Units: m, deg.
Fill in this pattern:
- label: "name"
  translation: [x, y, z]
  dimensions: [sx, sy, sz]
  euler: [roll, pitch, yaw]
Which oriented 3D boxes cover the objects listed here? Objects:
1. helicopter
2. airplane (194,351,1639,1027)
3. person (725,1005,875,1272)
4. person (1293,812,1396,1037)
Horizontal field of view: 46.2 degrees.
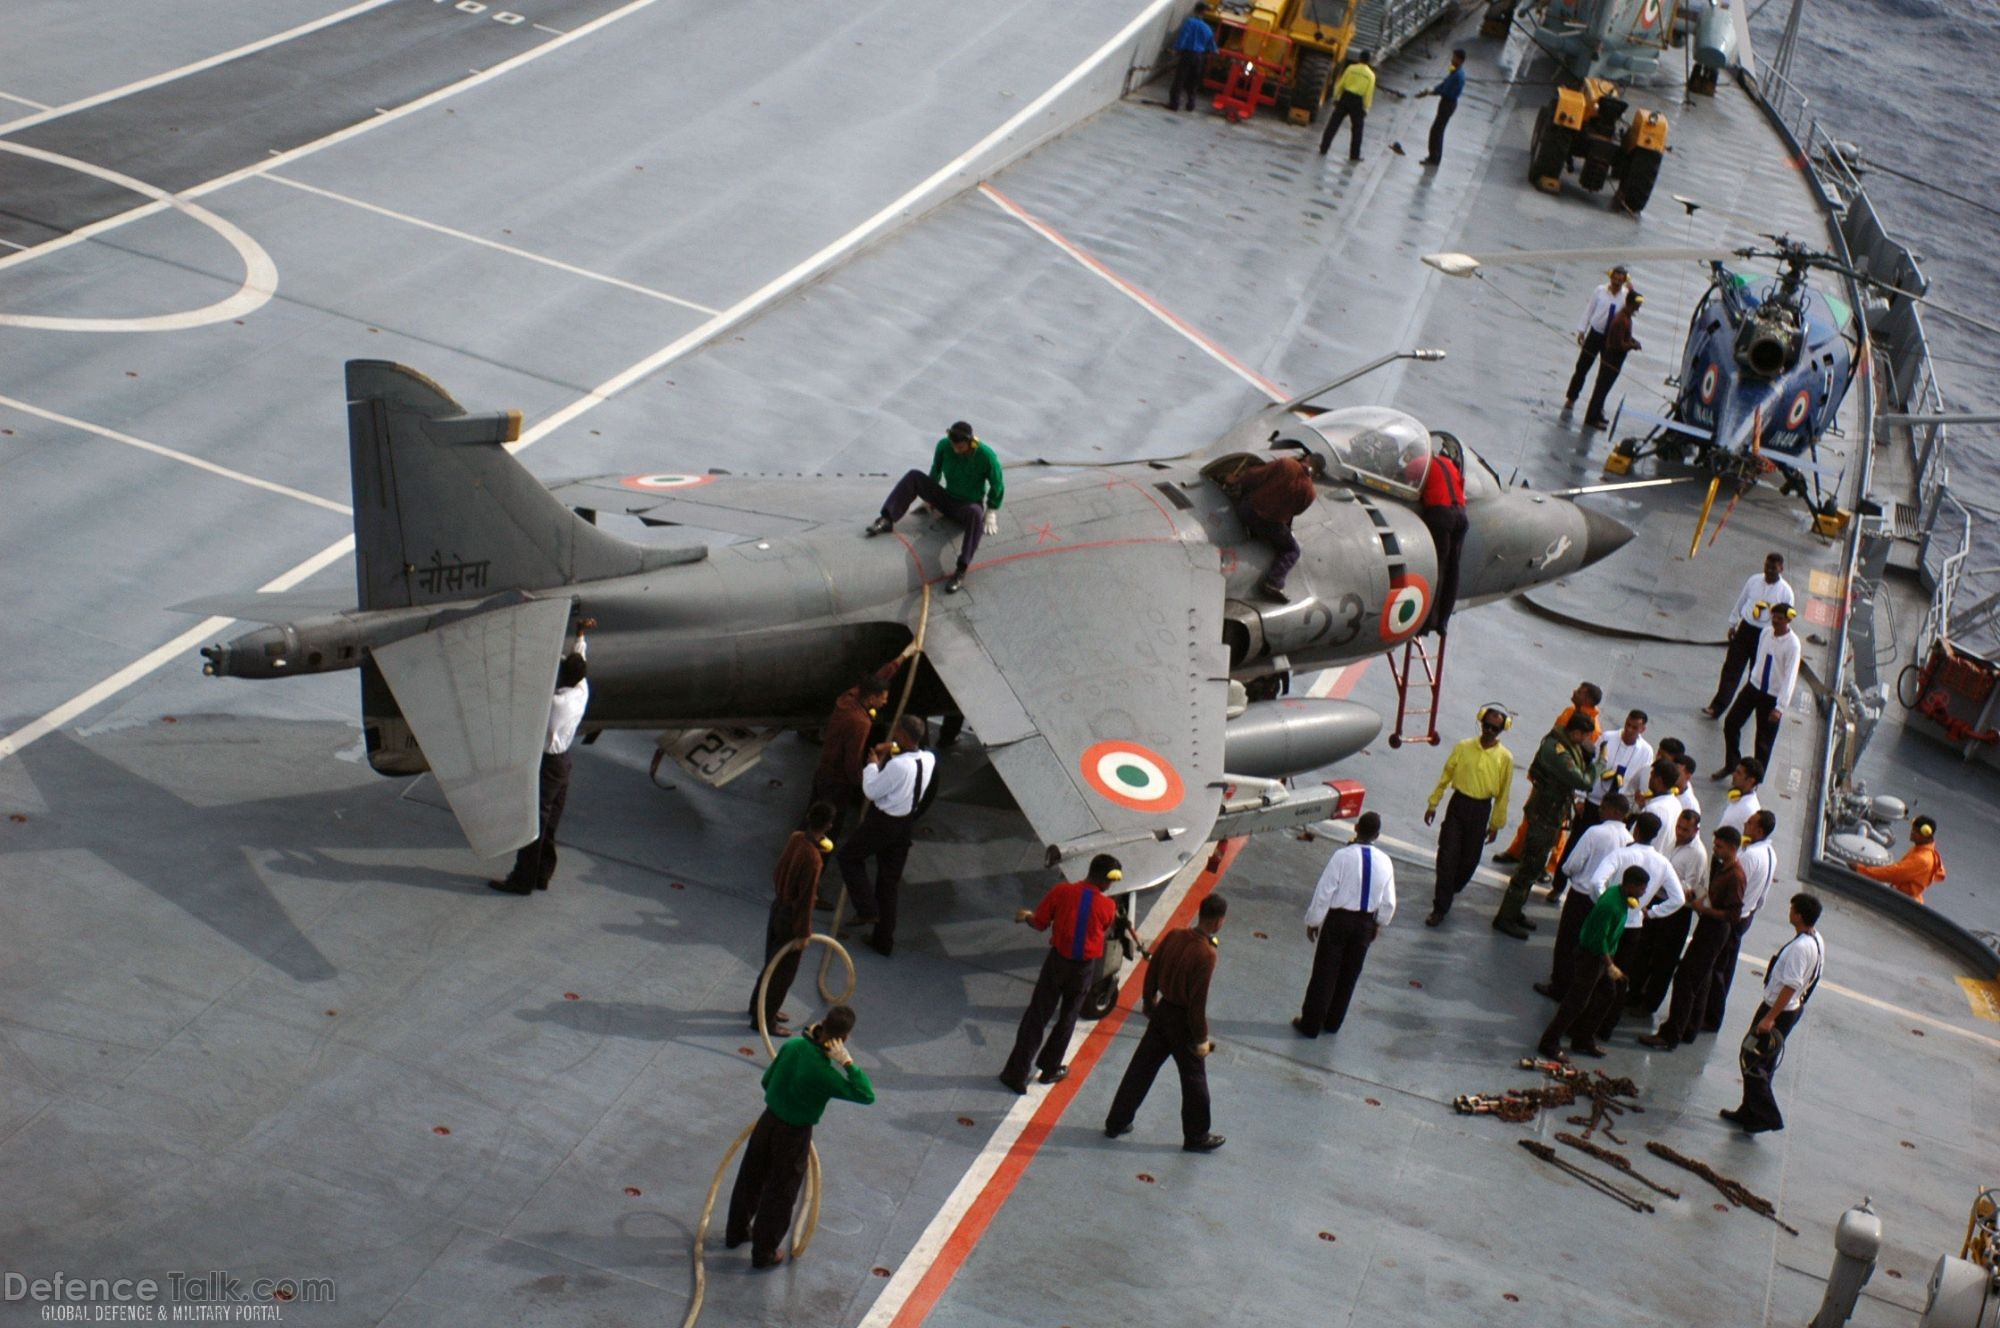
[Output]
- label: "helicopter"
  translation: [16.958, -5.611, 51.511]
  dimensions: [12.832, 3.380, 11.927]
  euler: [5, 34, 8]
- label: "airplane"
  translation: [0.182, -1.948, 34.586]
  dimensions: [21.450, 4.605, 15.154]
  euler: [-9, 16, -25]
- label: "person"
  translation: [-2.470, 5.689, 27.896]
  dimensions: [0.991, 3.374, 1.026]
  euler: [30, 33, 31]
- label: "person"
  translation: [4.732, 3.561, 32.134]
  dimensions: [1.026, 3.415, 1.115]
  euler: [16, 28, 8]
